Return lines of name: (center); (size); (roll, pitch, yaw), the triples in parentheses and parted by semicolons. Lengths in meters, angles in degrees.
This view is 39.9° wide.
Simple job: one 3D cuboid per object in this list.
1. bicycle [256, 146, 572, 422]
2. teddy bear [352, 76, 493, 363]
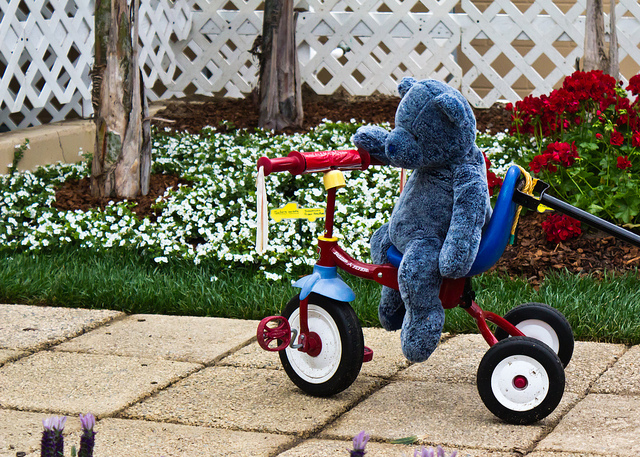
bicycle: (0.534, 0.338, 5.248); (1.634, 1.652, 1.591); (7, -9, 0)
teddy bear: (0.586, -0.048, 4.940); (0.738, 1.558, 0.379); (2, 7, 12)
